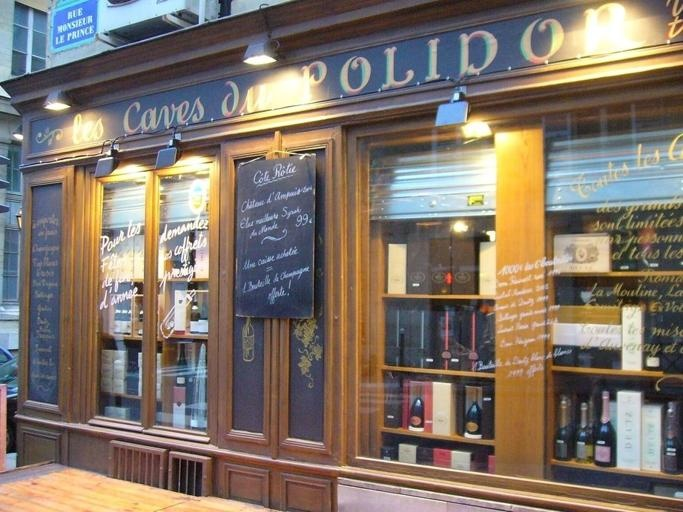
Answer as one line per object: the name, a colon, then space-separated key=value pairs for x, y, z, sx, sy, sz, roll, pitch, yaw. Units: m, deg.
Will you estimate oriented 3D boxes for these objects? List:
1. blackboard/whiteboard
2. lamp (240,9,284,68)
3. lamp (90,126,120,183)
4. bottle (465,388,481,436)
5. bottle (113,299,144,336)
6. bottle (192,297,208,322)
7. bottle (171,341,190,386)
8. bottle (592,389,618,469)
blackboard/whiteboard: x=-0.542 y=-0.154 z=6.430 sx=0.772 sy=1.308 sz=0.095 roll=-4 pitch=-8 yaw=27
lamp: x=-0.691 y=-1.803 z=6.504 sx=0.344 sy=0.429 sz=0.225 roll=-5 pitch=-9 yaw=34
lamp: x=-2.164 y=-0.909 z=7.290 sx=0.316 sy=0.379 sz=0.222 roll=-6 pitch=-9 yaw=38
bottle: x=0.976 y=1.166 z=5.848 sx=0.145 sy=0.379 sz=0.031 roll=-5 pitch=-8 yaw=31
bottle: x=-1.970 y=0.574 z=7.326 sx=0.314 sy=0.310 sz=0.113 roll=-5 pitch=-8 yaw=35
bottle: x=-1.245 y=0.458 z=6.903 sx=0.203 sy=0.212 sz=0.017 roll=-6 pitch=-9 yaw=38
bottle: x=-1.426 y=0.964 z=7.022 sx=0.172 sy=0.384 sz=0.031 roll=-6 pitch=-9 yaw=37
bottle: x=1.843 y=1.214 z=5.516 sx=0.148 sy=0.518 sz=0.040 roll=-2 pitch=-7 yaw=12
